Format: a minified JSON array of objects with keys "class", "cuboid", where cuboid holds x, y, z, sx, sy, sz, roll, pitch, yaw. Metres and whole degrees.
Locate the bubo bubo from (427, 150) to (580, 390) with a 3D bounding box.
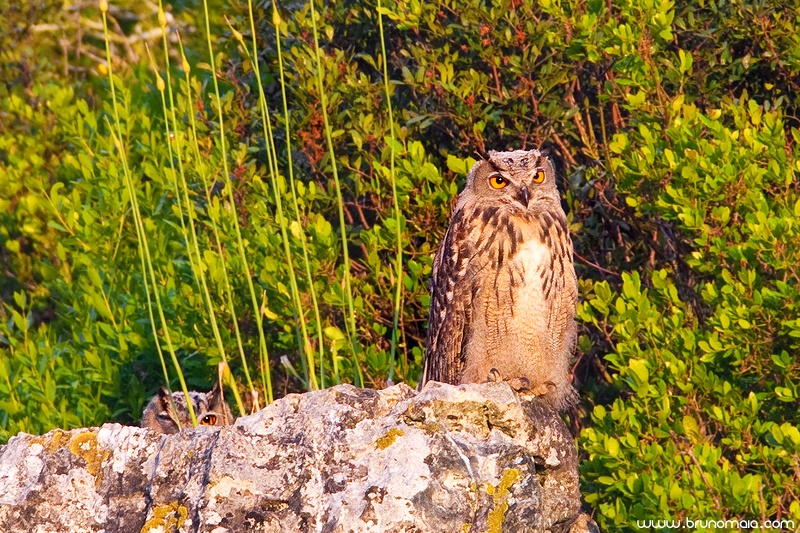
[{"class":"bubo bubo","cuboid":[0.703,0.132,12.384,1.052,1.732,0.599,2,15,6]}]
